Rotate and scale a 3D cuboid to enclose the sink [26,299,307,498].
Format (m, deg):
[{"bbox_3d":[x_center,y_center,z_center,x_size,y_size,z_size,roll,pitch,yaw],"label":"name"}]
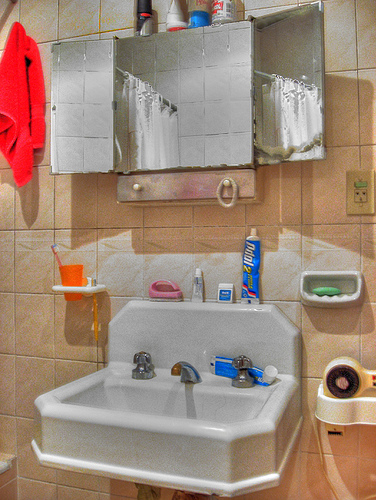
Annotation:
[{"bbox_3d":[-0.023,0.397,1.214,0.584,0.433,0.532,0,9,19],"label":"sink"}]

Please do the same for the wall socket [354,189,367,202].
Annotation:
[{"bbox_3d":[0.455,-0.143,1.288,0.028,0.034,0.004,2,4,20],"label":"wall socket"}]

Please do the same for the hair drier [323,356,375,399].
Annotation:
[{"bbox_3d":[0.384,0.306,1.176,0.117,0.081,0.059,-3,8,4],"label":"hair drier"}]

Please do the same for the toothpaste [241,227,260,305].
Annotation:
[{"bbox_3d":[0.178,0.047,1.375,0.058,0.220,0.028,4,3,27],"label":"toothpaste"}]

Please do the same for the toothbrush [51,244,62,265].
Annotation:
[{"bbox_3d":[-0.421,0.018,1.577,0.027,0.070,0.116,-5,9,-15],"label":"toothbrush"}]

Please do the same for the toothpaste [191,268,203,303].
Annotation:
[{"bbox_3d":[0.027,0.103,1.417,0.034,0.093,0.033,-3,8,0],"label":"toothpaste"}]

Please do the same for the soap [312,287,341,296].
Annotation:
[{"bbox_3d":[0.365,0.107,1.293,0.074,0.020,0.040,-1,9,17],"label":"soap"}]
